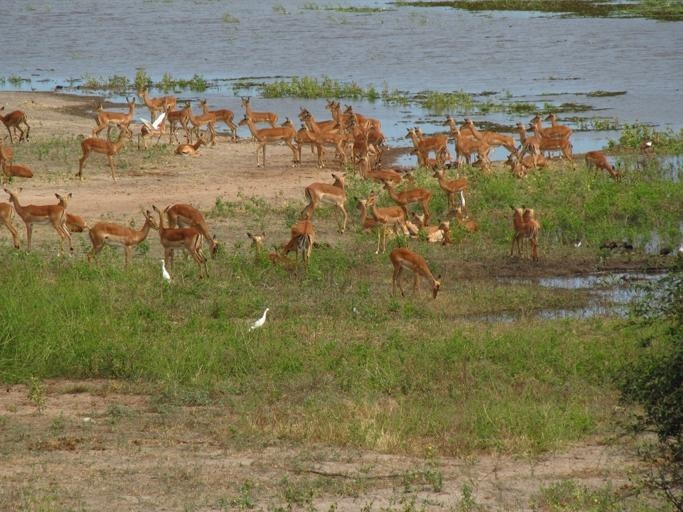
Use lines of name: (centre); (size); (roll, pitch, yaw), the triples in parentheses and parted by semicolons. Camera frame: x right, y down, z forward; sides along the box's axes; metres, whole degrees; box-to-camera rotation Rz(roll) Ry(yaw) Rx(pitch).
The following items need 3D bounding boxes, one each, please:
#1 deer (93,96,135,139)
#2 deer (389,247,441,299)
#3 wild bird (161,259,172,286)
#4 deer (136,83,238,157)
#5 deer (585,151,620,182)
deer: (-7.435, -4.567, 43.166); (1.657, 1.402, 0.465); (-2, 7, -25)
deer: (1.909, 0.326, 33.835); (1.102, 1.369, 1.234); (2, 12, -10)
wild bird: (-4.474, 0.389, 33.164); (0.248, 0.428, 0.812); (-2, 20, -7)
deer: (-5.278, -4.861, 45.904); (2.980, 1.608, 3.799); (-6, 21, -18)
deer: (8.070, -2.825, 39.956); (0.505, 0.656, 1.326); (-16, 25, -40)
